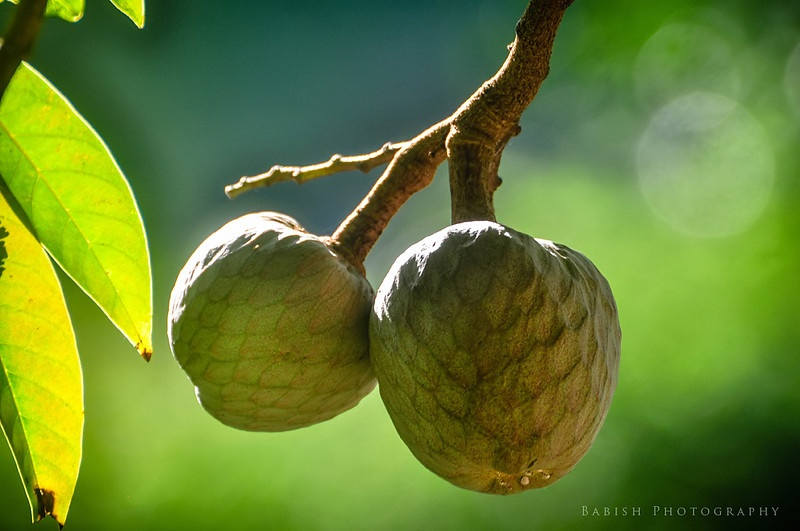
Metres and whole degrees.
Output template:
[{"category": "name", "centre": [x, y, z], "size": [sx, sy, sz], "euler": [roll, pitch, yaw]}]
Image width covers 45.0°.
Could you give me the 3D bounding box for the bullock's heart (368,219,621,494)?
[{"category": "bullock's heart", "centre": [0.101, 0.118, 1.336], "size": [0.281, 0.350, 0.396], "euler": [-1, 0, 12]}]

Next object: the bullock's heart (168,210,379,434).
[{"category": "bullock's heart", "centre": [-0.177, 0.073, 1.335], "size": [0.281, 0.283, 0.146], "euler": [0, -23, -1]}]
